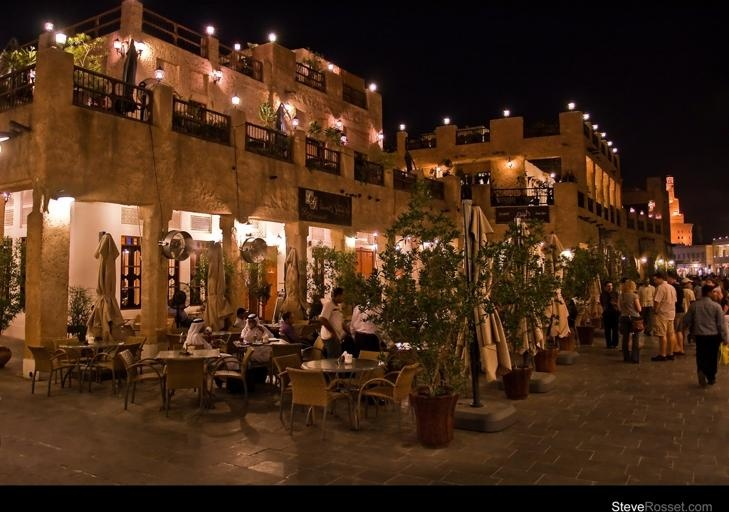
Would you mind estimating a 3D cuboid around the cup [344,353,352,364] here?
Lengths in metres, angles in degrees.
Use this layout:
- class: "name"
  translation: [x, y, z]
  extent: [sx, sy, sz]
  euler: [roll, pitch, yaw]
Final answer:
- class: "cup"
  translation: [-0.290, 1.940, 11.178]
  extent: [0.170, 0.184, 0.162]
  euler: [0, -4, 0]

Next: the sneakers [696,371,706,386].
- class: "sneakers"
  translation: [7.215, 2.653, 12.717]
  extent: [0.132, 0.360, 0.152]
  euler: [-18, 0, 32]

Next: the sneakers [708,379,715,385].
- class: "sneakers"
  translation: [7.624, 2.791, 13.030]
  extent: [0.120, 0.127, 0.117]
  euler: [-13, 5, -8]

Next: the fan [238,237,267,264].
- class: "fan"
  translation: [-3.747, -0.185, 20.105]
  extent: [0.373, 0.829, 0.903]
  euler: [-6, -10, 31]

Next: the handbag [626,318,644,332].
- class: "handbag"
  translation: [7.207, 1.846, 15.848]
  extent: [0.583, 0.596, 0.329]
  euler: [3, -2, -44]

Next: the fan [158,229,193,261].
- class: "fan"
  translation: [-5.331, -0.308, 16.997]
  extent: [0.835, 0.674, 0.657]
  euler: [4, -18, 32]
